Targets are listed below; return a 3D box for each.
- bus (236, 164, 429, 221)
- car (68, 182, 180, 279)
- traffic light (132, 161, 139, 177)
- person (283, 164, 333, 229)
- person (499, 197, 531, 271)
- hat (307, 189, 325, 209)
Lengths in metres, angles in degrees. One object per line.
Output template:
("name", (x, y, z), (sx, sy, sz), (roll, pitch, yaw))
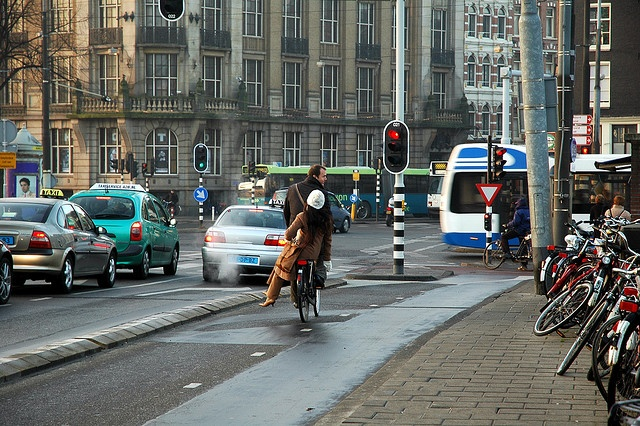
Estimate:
("bus", (1.614, -1.581, 57.703), (13.909, 4.059, 4.102), (-1, 0, -17))
("car", (-5.085, 0.459, 25.513), (2.636, 2.329, 4.983), (2, 1, 0))
("traffic light", (-8.884, -2.135, 47.132), (0.259, 0.720, 0.683), (-3, 4, -10))
("person", (-0.049, -0.394, 18.054), (1.224, 0.632, 0.710), (-6, 8, -20))
("person", (5.994, 0.715, 30.039), (1.100, 2.460, 0.908), (2, -37, 20))
("hat", (-0.059, -0.234, 17.004), (0.248, 0.340, 0.120), (15, -18, -10))
